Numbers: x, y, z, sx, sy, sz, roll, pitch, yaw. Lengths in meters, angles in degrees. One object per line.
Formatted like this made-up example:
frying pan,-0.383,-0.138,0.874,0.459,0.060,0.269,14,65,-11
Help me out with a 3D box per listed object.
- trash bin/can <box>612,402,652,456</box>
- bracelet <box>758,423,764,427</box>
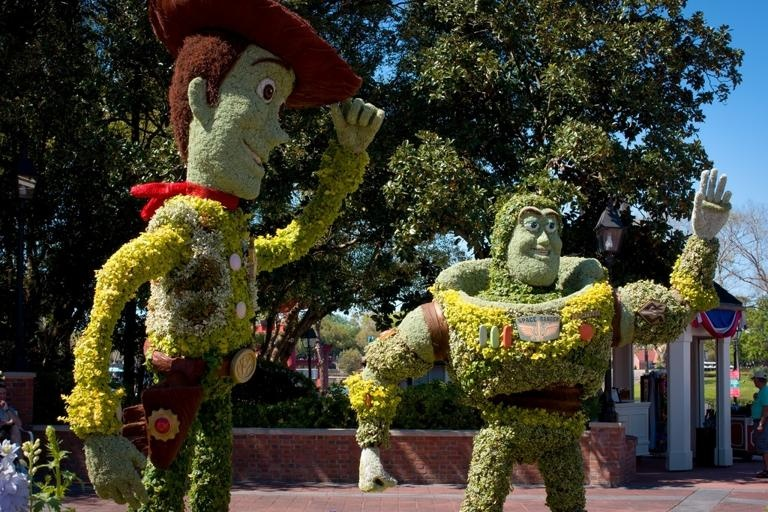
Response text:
trash bin/can,5.268,3.670,20.789,0.720,0.724,0.472,0,-14,17
bracelet,7.233,3.264,18.464,0.059,0.103,0.104,3,-14,8
